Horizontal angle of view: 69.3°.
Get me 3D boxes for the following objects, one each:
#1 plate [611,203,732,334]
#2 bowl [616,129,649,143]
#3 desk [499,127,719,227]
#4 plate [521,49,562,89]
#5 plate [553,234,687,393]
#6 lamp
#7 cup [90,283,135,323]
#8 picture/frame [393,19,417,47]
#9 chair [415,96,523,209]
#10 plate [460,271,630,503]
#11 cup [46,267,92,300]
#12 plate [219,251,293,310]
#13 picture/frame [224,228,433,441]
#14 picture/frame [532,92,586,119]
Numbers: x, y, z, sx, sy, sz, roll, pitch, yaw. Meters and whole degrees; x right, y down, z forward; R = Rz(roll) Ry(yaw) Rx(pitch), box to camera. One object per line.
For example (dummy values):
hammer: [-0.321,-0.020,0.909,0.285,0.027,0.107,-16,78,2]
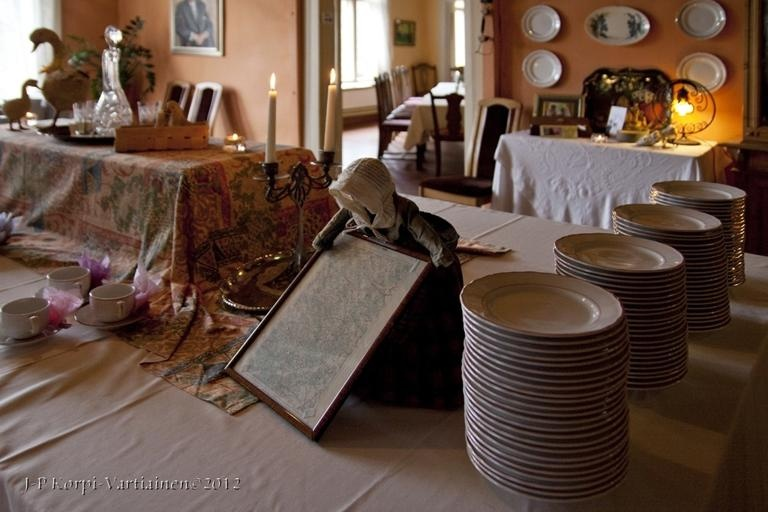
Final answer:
plate: [0.664,0.002,1.293,0.241,0.187,0.295,-5,18,4]
bowl: [1.531,-0.734,3.398,0.204,0.066,0.116,-8,17,-24]
desk: [1.355,-0.559,3.620,1.195,0.556,0.802,19,42,34]
plate: [1.168,-1.382,4.097,0.074,0.266,0.291,-15,21,-42]
plate: [0.478,0.088,1.154,0.237,0.189,0.302,-9,23,-3]
lamp: [1.886,-0.910,3.508,0.194,0.413,0.338,-25,26,-21]
cup: [-0.661,0.122,1.367,0.100,0.071,0.126,-3,17,-33]
picture/frame: [0.396,-4.273,10.632,0.084,0.508,0.824,8,18,29]
chair: [0.595,-0.603,3.913,0.556,0.985,0.646,13,23,27]
plate: [0.284,0.178,0.975,0.320,0.311,0.301,-12,20,-29]
cup: [-0.799,0.084,1.444,0.090,0.082,0.114,-15,22,-35]
plate: [-0.330,0.080,1.502,0.169,0.035,0.141,-33,43,-7]
picture/frame: [-0.073,0.143,1.158,0.338,0.052,0.415,24,72,47]
picture/frame: [1.209,-1.034,3.826,0.248,0.261,0.018,6,-3,25]
